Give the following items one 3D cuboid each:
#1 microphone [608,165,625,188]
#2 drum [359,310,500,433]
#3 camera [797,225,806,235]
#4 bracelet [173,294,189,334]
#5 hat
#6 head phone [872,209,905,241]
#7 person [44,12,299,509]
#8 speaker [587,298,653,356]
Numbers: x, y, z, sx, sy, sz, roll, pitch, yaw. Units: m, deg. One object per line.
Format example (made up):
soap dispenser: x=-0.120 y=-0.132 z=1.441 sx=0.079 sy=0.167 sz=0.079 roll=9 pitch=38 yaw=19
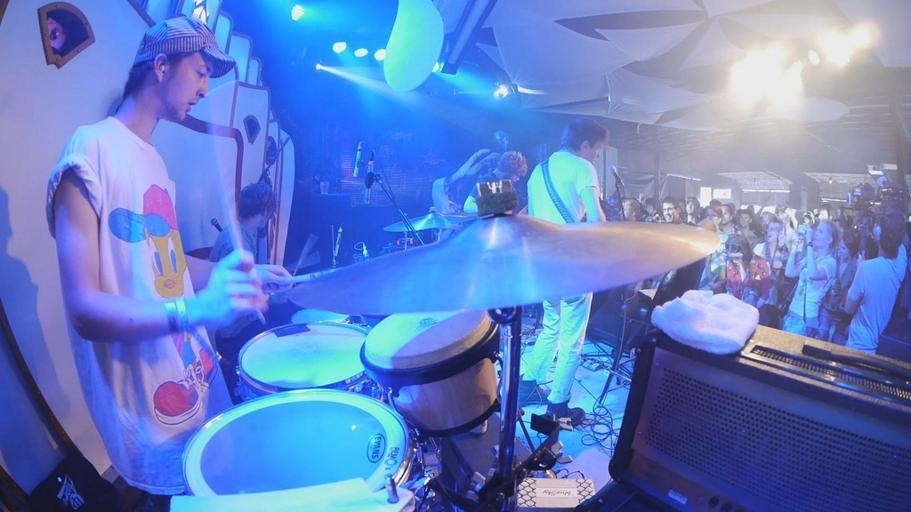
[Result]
microphone: x=2.150 y=-1.066 z=7.798 sx=0.118 sy=0.335 sz=0.108 roll=-22 pitch=-17 yaw=-1
drum: x=-0.095 y=0.817 z=4.543 sx=0.964 sy=0.839 sz=0.967 roll=-22 pitch=22 yaw=15
camera: x=3.792 y=-0.290 z=6.400 sx=0.095 sy=0.089 sz=0.026 roll=6 pitch=-4 yaw=12
bracelet: x=-1.780 y=0.376 z=3.810 sx=0.086 sy=0.207 sz=0.040 roll=1 pitch=11 yaw=4
hat: x=-1.958 y=-1.479 z=4.220 sx=0.584 sy=0.319 sz=0.428 roll=-6 pitch=12 yaw=-22
head phone: x=4.344 y=-0.299 z=5.897 sx=0.217 sy=0.266 sz=0.287 roll=0 pitch=-26 yaw=18
person: x=-2.085 y=0.090 z=3.961 sx=1.187 sy=3.411 sz=0.957 roll=-4 pitch=12 yaw=-21
speaker: x=1.789 y=0.742 z=6.760 sx=0.647 sy=0.670 sz=0.681 roll=-5 pitch=6 yaw=-44
